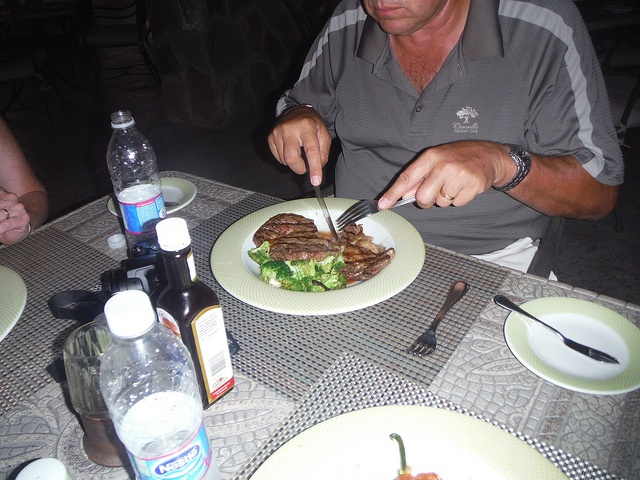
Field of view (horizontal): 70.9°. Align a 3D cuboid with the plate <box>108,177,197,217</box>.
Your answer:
[{"bbox_3d":[-0.571,-0.177,1.670,0.264,0.172,0.335,-4,23,-9],"label":"plate"}]

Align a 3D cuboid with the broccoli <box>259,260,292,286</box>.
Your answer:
[{"bbox_3d":[-0.127,0.089,1.284,0.069,0.023,0.070,18,47,3],"label":"broccoli"}]

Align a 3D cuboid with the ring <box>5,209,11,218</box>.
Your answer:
[{"bbox_3d":[-1.036,-0.088,1.491,0.006,0.024,0.023,-8,28,-18],"label":"ring"}]

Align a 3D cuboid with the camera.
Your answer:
[{"bbox_3d":[-0.408,0.089,1.206,0.308,0.252,0.287,20,28,38],"label":"camera"}]

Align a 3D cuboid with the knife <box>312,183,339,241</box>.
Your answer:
[{"bbox_3d":[0.010,-0.093,1.512,0.038,0.026,0.325,-28,46,15],"label":"knife"}]
